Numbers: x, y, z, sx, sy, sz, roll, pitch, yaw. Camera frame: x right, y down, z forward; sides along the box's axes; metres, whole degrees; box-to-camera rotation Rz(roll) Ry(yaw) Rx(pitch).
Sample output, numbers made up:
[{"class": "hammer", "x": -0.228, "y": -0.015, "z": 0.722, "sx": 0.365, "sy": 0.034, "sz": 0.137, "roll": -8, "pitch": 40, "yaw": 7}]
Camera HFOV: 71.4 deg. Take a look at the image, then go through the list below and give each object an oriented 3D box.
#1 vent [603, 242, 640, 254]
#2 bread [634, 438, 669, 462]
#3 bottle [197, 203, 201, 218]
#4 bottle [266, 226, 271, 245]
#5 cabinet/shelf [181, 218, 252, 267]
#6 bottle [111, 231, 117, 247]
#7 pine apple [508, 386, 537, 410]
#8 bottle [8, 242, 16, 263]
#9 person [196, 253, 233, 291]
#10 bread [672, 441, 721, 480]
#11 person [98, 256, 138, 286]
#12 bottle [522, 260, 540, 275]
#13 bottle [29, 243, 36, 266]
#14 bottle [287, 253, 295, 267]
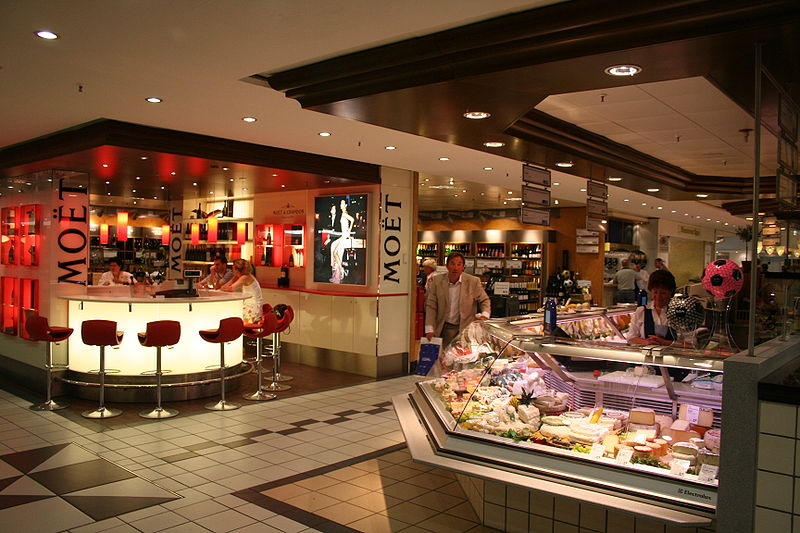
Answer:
[{"class": "vent", "x": 6.998, "y": -0.620, "z": 17.778, "sx": 0.976, "sy": 0.161, "sz": 0.629, "roll": 5, "pitch": -4, "yaw": -34}, {"class": "bread", "x": 1.950, "y": 1.450, "z": 4.367, "sx": 0.160, "sy": 0.068, "sz": 0.226, "roll": 0, "pitch": 0, "yaw": 43}, {"class": "bottle", "x": -5.297, "y": -1.506, "z": 14.696, "sx": 0.155, "sy": 0.375, "sz": 0.434, "roll": -5, "pitch": 12, "yaw": -19}, {"class": "bottle", "x": -2.881, "y": -0.690, "z": 12.184, "sx": 0.134, "sy": 0.372, "sz": 0.138, "roll": -1, "pitch": 12, "yaw": 0}, {"class": "cabinet/shelf", "x": -4.746, "y": -0.667, "z": 14.801, "sx": 2.242, "sy": 1.039, "sz": 0.645, "roll": 2, "pitch": 0, "yaw": 27}, {"class": "bottle", "x": -9.190, "y": -0.898, "z": 17.919, "sx": 0.198, "sy": 0.473, "sz": 0.355, "roll": -7, "pitch": 13, "yaw": -25}, {"class": "pine apple", "x": 1.066, "y": 1.166, "z": 4.905, "sx": 0.190, "sy": 0.075, "sz": 0.176, "roll": -16, "pitch": 4, "yaw": -14}, {"class": "bottle", "x": -6.756, "y": -0.234, "z": 9.726, "sx": 0.102, "sy": 0.338, "sz": 0.316, "roll": -10, "pitch": 15, "yaw": -38}, {"class": "person", "x": -3.703, "y": 0.133, "z": 11.132, "sx": 0.975, "sy": 0.596, "sz": 0.653, "roll": 2, "pitch": 3, "yaw": -38}, {"class": "bread", "x": 2.245, "y": 1.484, "z": 4.264, "sx": 0.253, "sy": 0.140, "sz": 0.239, "roll": 1, "pitch": 2, "yaw": 41}, {"class": "person", "x": -6.719, "y": 0.085, "z": 13.208, "sx": 0.823, "sy": 0.974, "sz": 0.599, "roll": 2, "pitch": -4, "yaw": -32}, {"class": "bottle", "x": 4.006, "y": 0.013, "z": 17.199, "sx": 0.510, "sy": 0.390, "sz": 0.236, "roll": 5, "pitch": 6, "yaw": 43}, {"class": "bottle", "x": -6.050, "y": -0.196, "z": 9.203, "sx": 0.111, "sy": 0.315, "sz": 0.304, "roll": -9, "pitch": 14, "yaw": -35}, {"class": "bottle", "x": -2.314, "y": -0.133, "z": 11.841, "sx": 0.199, "sy": 0.269, "sz": 0.061, "roll": 6, "pitch": 14, "yaw": 29}]
